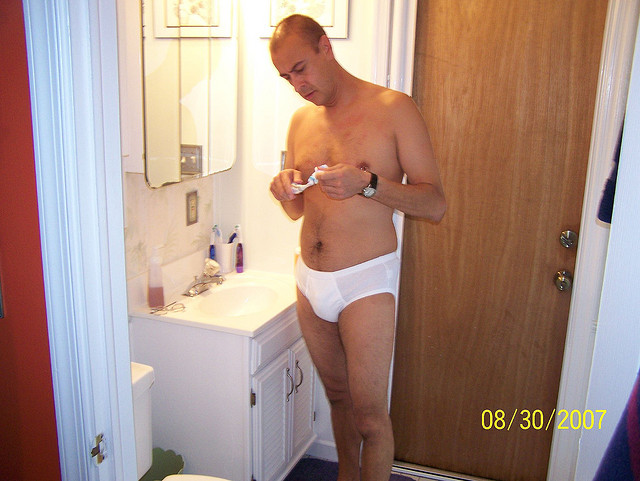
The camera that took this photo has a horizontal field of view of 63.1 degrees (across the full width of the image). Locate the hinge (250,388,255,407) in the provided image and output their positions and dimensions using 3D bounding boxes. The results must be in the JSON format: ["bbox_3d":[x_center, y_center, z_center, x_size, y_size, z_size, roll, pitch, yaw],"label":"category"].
[{"bbox_3d":[-0.272,0.625,2.089,0.019,0.066,0.016,-1,17,-4],"label":"hinge"}]

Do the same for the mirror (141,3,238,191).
[{"bbox_3d":[-0.548,-0.622,2.156,0.012,0.909,0.723,6,9,20],"label":"mirror"}]

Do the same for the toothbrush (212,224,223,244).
[{"bbox_3d":[-0.509,-0.011,2.627,0.030,0.146,0.036,-7,11,8],"label":"toothbrush"}]

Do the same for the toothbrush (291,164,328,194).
[{"bbox_3d":[-0.028,-0.201,1.826,0.140,0.038,0.072,-43,17,-10],"label":"toothbrush"}]

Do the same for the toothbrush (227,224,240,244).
[{"bbox_3d":[-0.436,-0.043,2.632,0.058,0.077,0.131,0,19,-2],"label":"toothbrush"}]

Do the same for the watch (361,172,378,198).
[{"bbox_3d":[0.153,-0.195,1.758,0.045,0.077,0.070,18,24,-9],"label":"watch"}]

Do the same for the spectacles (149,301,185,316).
[{"bbox_3d":[-0.645,0.285,2.198,0.144,0.010,0.084,-8,21,-22],"label":"spectacles"}]

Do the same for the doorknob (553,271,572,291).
[{"bbox_3d":[1.044,0.170,2.251,0.066,0.077,0.032,3,18,9],"label":"doorknob"}]

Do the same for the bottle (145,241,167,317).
[{"bbox_3d":[-0.705,0.164,2.198,0.084,0.241,0.239,-6,19,-18],"label":"bottle"}]
